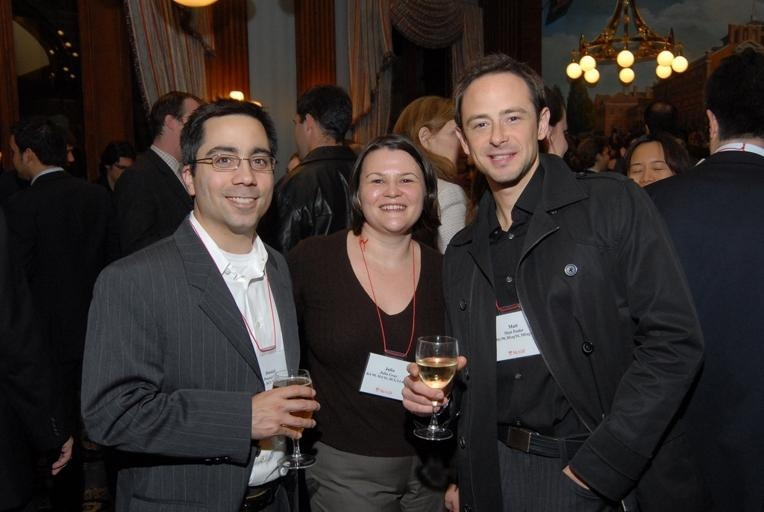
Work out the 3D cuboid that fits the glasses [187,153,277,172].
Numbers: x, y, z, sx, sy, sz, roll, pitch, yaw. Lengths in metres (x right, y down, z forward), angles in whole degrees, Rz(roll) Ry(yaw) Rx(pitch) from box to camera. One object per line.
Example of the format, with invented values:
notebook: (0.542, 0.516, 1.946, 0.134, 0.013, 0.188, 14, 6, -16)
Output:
glasses: (-0.596, -0.374, 2.255, 0.338, 0.077, 0.116, -3, 4, -20)
